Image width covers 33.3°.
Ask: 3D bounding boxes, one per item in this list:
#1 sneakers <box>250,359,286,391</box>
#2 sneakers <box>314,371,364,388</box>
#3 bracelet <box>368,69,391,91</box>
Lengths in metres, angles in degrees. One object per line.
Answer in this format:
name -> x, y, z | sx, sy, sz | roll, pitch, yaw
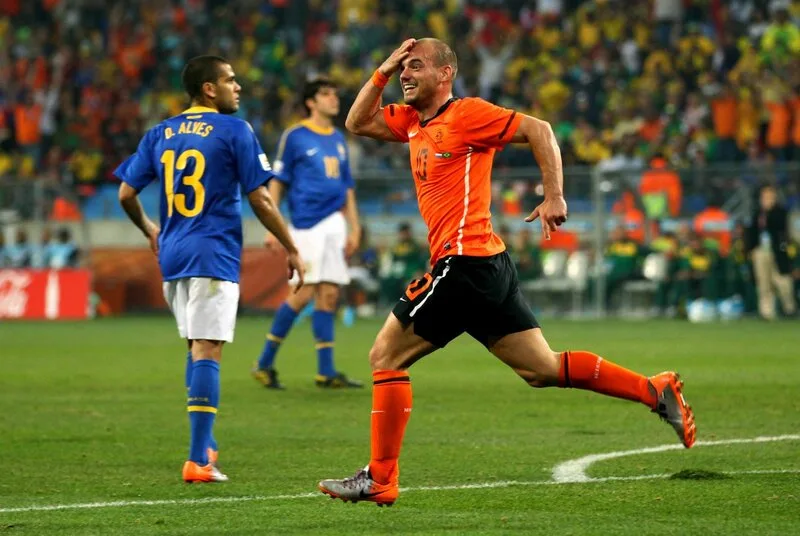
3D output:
sneakers -> -1.587, 1.296, 16.028 | 0.511, 0.234, 0.175 | 33, 10, -16
sneakers -> -0.757, 1.340, 16.082 | 0.614, 0.228, 0.209 | 0, -4, 2
bracelet -> -0.205, -1.808, 12.844 | 0.154, 0.173, 0.198 | 16, 1, -15
